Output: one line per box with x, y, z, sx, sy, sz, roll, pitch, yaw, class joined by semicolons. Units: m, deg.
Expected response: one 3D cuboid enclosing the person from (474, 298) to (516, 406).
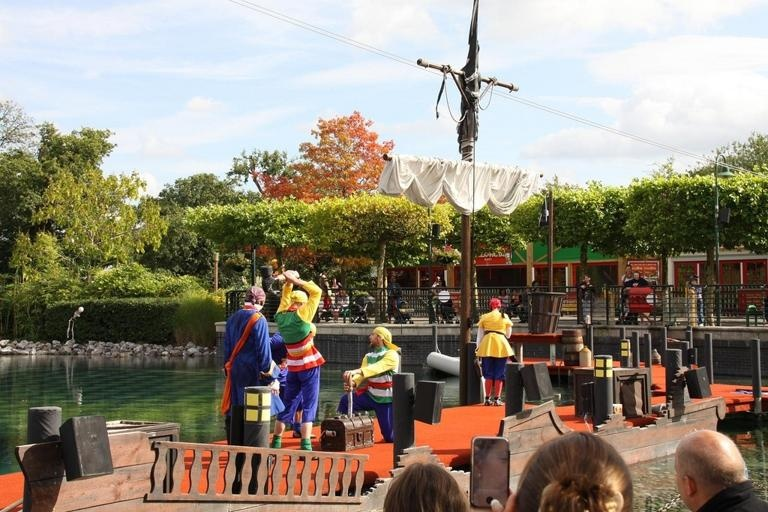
2.931;2.443;27.744;1.059;2.640;1.161;-1;2;-7;person

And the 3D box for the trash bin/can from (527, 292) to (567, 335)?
4.788;1.658;30.811;1.074;1.193;1.087;6;-11;-7;trash bin/can

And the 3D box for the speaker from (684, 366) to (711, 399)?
8.039;3.230;27.424;0.631;0.759;0.345;-2;-4;6;speaker

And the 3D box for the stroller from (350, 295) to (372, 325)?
-0.857;1.983;39.886;0.645;1.045;0.926;1;4;3;stroller

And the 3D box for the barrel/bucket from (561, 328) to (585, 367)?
5.425;2.611;31.188;0.873;1.314;0.929;0;-4;0;barrel/bucket

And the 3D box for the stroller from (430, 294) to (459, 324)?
2.263;1.893;39.310;0.871;1.016;1.059;-2;-4;5;stroller

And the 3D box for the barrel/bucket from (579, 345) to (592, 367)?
5.806;2.856;30.751;0.399;0.521;0.450;-1;-4;-6;barrel/bucket

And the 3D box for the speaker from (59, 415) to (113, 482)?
-5.852;3.760;20.902;1.065;1.552;0.800;-4;-7;-30;speaker

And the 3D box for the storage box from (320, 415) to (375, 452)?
-0.812;3.956;24.311;0.786;0.731;1.135;-3;-3;40;storage box

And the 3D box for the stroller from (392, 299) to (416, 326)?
0.626;2.012;38.795;0.864;1.026;0.607;-2;-2;23;stroller

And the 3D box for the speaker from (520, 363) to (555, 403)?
3.552;2.884;24.932;0.691;0.831;0.476;-1;-4;2;speaker

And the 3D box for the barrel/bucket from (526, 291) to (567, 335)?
4.579;1.628;30.698;1.079;1.196;1.084;4;-10;1;barrel/bucket
